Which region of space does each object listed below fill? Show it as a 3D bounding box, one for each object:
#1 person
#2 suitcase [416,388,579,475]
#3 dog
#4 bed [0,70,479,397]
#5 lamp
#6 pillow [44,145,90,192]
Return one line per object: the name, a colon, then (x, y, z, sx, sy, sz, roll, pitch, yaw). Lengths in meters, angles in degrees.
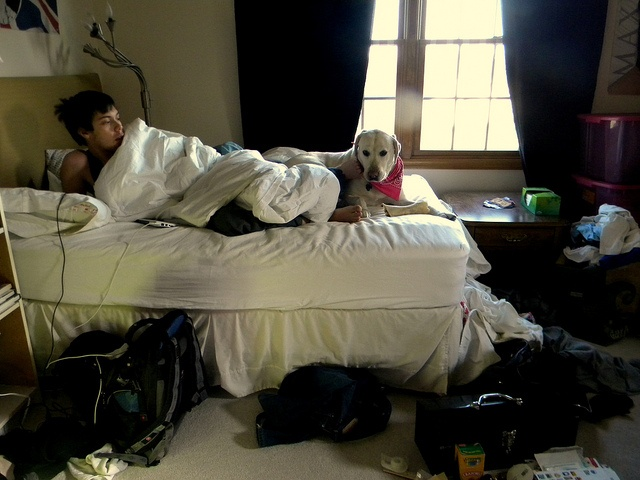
person: (-0.625, -0.333, 2.605, 1.281, 0.545, 0.874, 2, 16, -3)
suitcase: (0.711, 0.798, 2.206, 0.809, 0.302, 0.407, -1, 9, -5)
dog: (0.245, -0.364, 2.984, 0.488, 0.427, 0.869, -5, 8, -26)
bed: (-0.339, -0.108, 2.472, 1.352, 0.886, 1.390, -1, 19, -3)
lamp: (-1.373, -1.215, 3.297, 0.440, 0.268, 1.047, 2, -28, -16)
pillow: (-1.460, -0.390, 2.855, 0.118, 0.247, 0.243, 14, -32, -29)
